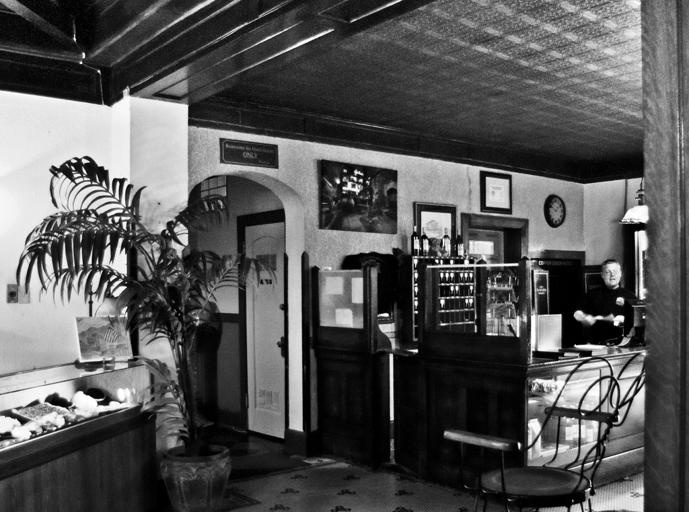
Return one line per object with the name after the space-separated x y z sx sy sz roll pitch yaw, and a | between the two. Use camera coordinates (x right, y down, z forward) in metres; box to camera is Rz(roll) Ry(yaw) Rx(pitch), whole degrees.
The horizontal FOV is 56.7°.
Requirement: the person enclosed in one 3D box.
3.154 0.866 7.823 0.630 1.601 0.643 8 20 32 | person

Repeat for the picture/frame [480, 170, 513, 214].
2.043 -0.872 8.712 0.527 0.584 0.039 5 -9 -36 | picture/frame

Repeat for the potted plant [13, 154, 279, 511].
-1.633 0.551 5.094 1.630 2.738 1.501 0 0 -29 | potted plant

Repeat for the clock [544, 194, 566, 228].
3.101 -0.673 9.472 0.453 0.497 0.061 -3 -1 -43 | clock
